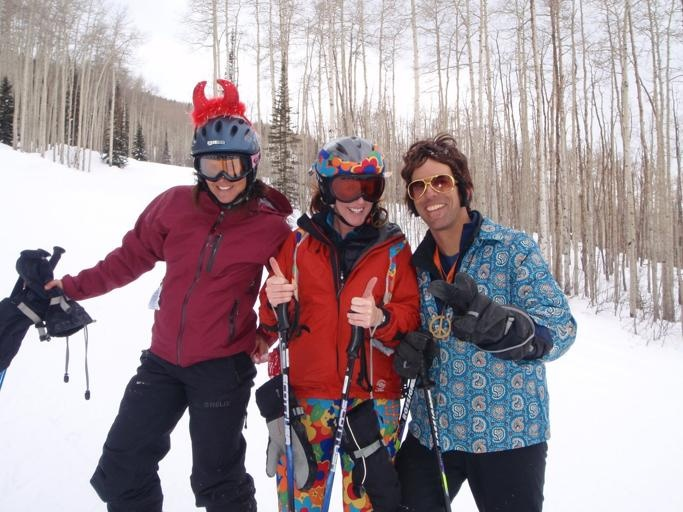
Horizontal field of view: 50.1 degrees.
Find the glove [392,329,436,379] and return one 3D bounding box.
[{"bbox_3d":[1.201,1.643,12.092,0.542,0.832,0.342,-4,-2,12],"label":"glove"}]
